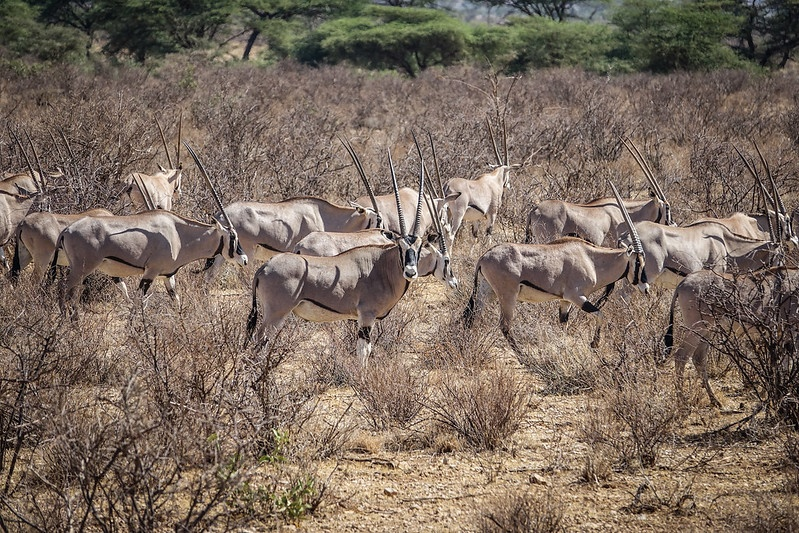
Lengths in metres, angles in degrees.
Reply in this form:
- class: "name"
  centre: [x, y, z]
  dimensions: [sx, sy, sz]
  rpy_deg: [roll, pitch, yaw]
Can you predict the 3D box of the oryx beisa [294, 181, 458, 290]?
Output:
- class: "oryx beisa"
  centre: [-0.569, -0.571, 17.105]
  dimensions: [3.322, 1.871, 1.326]
  rpy_deg: [-5, 9, -12]
